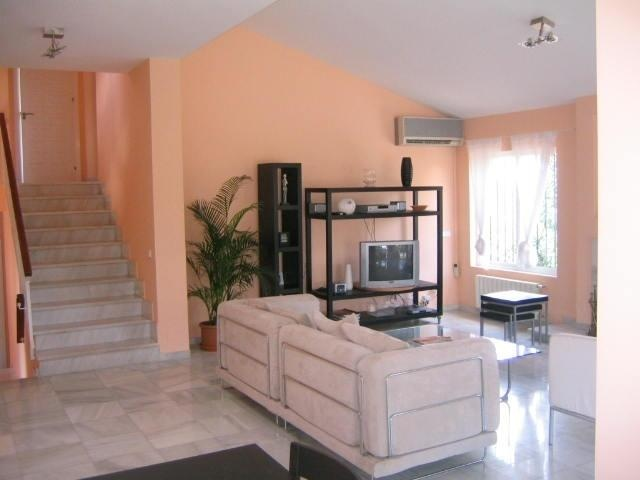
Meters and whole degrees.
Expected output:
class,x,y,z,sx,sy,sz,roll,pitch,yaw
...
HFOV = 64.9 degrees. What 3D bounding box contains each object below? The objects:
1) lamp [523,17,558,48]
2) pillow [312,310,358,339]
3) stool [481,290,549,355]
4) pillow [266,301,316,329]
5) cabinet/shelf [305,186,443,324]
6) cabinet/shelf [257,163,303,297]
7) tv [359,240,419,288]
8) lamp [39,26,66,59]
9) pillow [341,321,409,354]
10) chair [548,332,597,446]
class,x,y,z,sx,sy,sz,roll,pitch,yaw
lamp,2.319,-2.209,5.313,0.294,0.307,0.184,9,46,22
pillow,0.129,0.687,4.100,0.214,0.068,0.220,16,0,44
stool,2.628,0.990,6.717,0.795,0.764,0.794,-3,4,-37
pillow,-0.312,0.680,4.664,0.277,0.092,0.315,10,3,-33
cabinet/shelf,0.754,0.220,7.658,2.199,2.148,0.750,-3,3,-28
cabinet/shelf,-0.546,-0.151,7.103,0.622,1.847,0.710,-2,6,-11
tv,1.010,0.347,7.887,1.159,0.913,0.627,-2,1,-19
lamp,-2.658,-1.890,5.039,0.227,0.362,0.389,-2,-1,-34
pillow,0.379,0.714,3.653,0.239,0.072,0.250,23,-2,-37
chair,1.937,1.163,3.876,0.178,0.900,0.375,-6,8,-44
